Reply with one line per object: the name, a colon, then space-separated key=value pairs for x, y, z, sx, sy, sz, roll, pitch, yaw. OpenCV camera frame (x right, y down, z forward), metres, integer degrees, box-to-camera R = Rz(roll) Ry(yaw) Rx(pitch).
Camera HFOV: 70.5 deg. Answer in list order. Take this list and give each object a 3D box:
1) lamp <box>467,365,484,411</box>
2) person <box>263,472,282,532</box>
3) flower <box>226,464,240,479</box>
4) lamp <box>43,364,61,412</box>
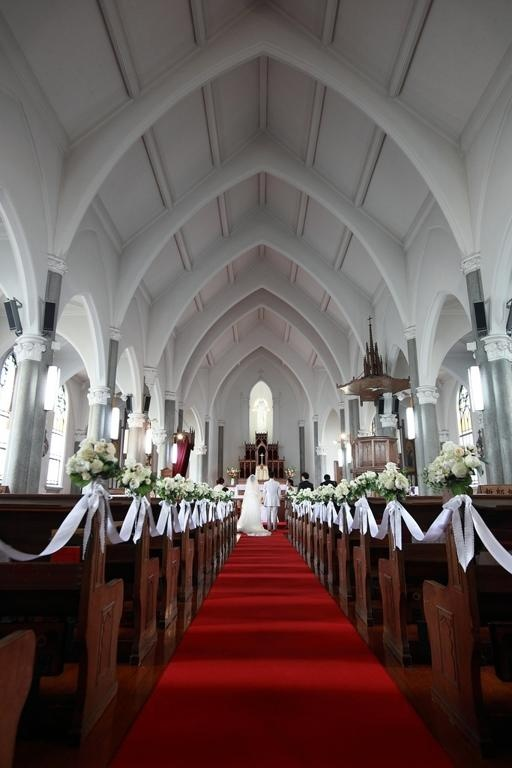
lamp: x=4.619 y=0.118 z=7.473 sx=0.160 sy=0.852 sz=0.702 roll=-4 pitch=-10 yaw=28
person: x=0.681 y=4.864 z=14.771 sx=0.604 sy=2.395 sz=0.659 roll=3 pitch=-41 yaw=-2
flower: x=-1.503 y=5.833 z=23.974 sx=0.630 sy=0.972 sz=0.786 roll=-2 pitch=-29 yaw=3
lamp: x=-3.959 y=0.075 z=6.920 sx=0.151 sy=0.912 sz=0.526 roll=4 pitch=-9 yaw=-23
